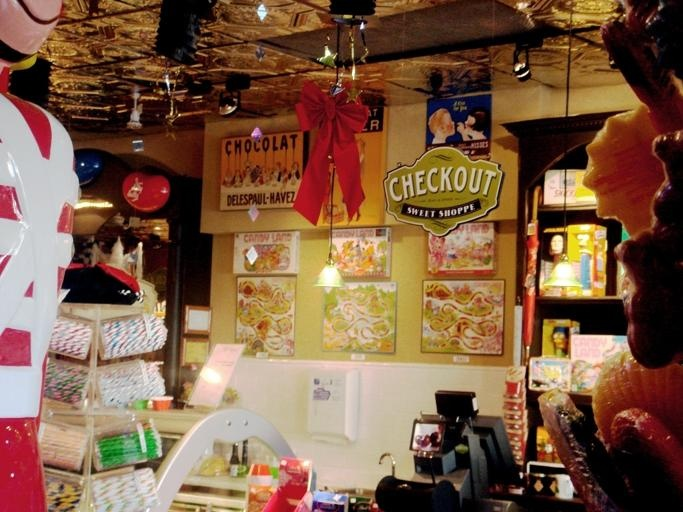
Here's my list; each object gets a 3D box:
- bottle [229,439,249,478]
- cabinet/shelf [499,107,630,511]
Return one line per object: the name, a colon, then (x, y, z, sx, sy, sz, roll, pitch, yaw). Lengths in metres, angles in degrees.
bottle: (-0.499, 0.977, 2.735, 0.049, 0.168, 0.123, -1, -8, 40)
cabinet/shelf: (1.840, 0.223, 4.876, 0.974, 2.996, 0.664, 1, -7, 25)
